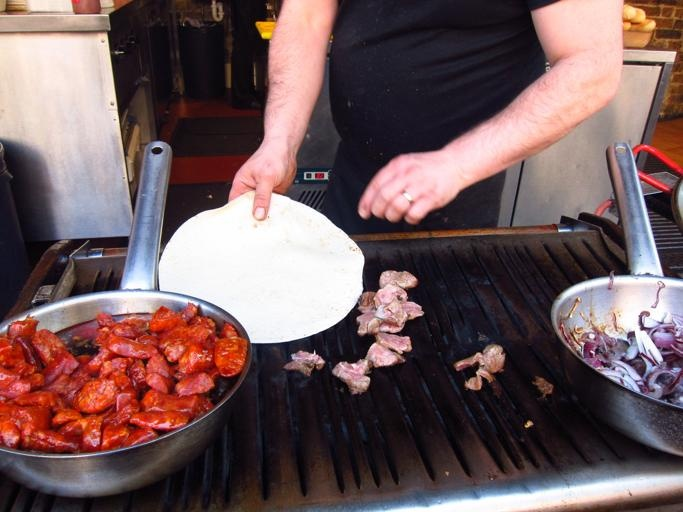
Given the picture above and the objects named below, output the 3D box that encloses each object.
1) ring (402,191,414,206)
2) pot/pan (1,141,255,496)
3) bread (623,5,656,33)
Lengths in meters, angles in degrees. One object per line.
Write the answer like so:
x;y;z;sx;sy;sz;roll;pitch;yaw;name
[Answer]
0.178;-0.154;1.357;0.028;0.032;0.031;-9;40;7;ring
-0.403;0.081;1.083;0.349;0.212;0.670;5;34;-1;pot/pan
1.528;-1.213;2.645;0.162;0.093;0.253;21;38;18;bread
